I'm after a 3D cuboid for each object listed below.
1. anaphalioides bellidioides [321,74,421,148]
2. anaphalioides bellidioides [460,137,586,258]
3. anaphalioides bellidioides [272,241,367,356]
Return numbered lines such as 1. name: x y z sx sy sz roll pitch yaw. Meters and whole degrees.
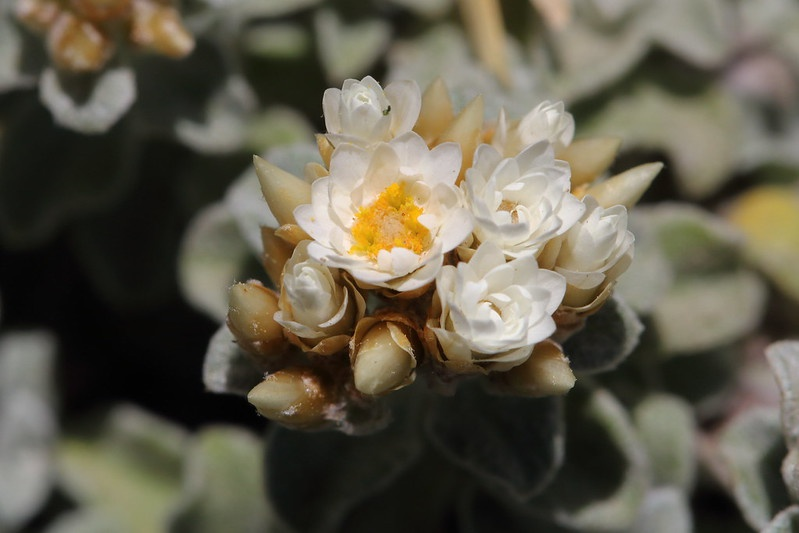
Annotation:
1. anaphalioides bellidioides: -0.013 -0.172 0.958 0.087 0.098 0.051 -6 82 -29
2. anaphalioides bellidioides: 0.136 -0.080 0.947 0.109 0.063 0.137 31 84 -2
3. anaphalioides bellidioides: -0.074 0.039 0.946 0.109 0.131 0.113 -7 37 2
